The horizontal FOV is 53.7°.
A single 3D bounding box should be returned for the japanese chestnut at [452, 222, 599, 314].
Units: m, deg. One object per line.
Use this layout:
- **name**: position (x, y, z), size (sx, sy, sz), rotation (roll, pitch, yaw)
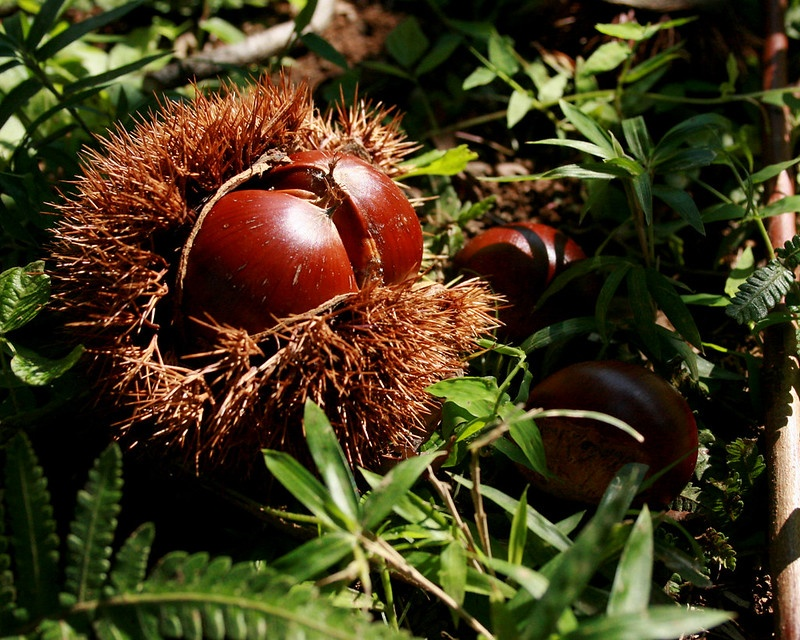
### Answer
- **japanese chestnut**: position (0.208, -0.096, 1.383), size (0.178, 0.099, 0.207), rotation (-4, 13, -33)
